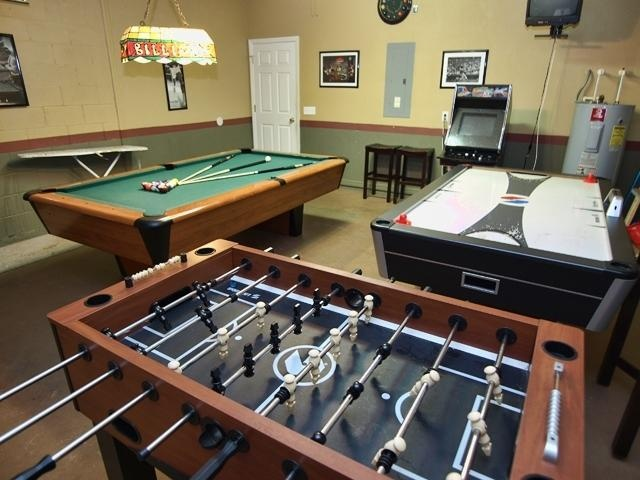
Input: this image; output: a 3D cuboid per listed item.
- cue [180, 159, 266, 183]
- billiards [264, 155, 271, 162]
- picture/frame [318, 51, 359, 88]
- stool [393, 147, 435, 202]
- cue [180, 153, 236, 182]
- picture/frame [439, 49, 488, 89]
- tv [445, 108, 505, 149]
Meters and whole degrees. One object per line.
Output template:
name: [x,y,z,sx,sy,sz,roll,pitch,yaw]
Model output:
cue: [-0.968,-0.669,4.168,0.815,0.100,0.121,-24,65,-39]
billiards: [-0.583,-0.908,4.731,0.038,0.040,0.089,-2,14,18]
picture/frame: [0.295,-2.516,6.180,0.525,0.407,0.023,12,26,29]
stool: [1.284,-0.863,5.816,0.579,0.766,0.577,-5,19,-17]
cue: [-1.128,-0.757,4.338,0.113,0.042,0.836,-26,12,31]
picture/frame: [1.831,-2.168,5.308,0.639,0.503,0.033,9,22,27]
tv: [1.806,-1.285,4.894,0.609,0.397,0.503,11,27,21]
